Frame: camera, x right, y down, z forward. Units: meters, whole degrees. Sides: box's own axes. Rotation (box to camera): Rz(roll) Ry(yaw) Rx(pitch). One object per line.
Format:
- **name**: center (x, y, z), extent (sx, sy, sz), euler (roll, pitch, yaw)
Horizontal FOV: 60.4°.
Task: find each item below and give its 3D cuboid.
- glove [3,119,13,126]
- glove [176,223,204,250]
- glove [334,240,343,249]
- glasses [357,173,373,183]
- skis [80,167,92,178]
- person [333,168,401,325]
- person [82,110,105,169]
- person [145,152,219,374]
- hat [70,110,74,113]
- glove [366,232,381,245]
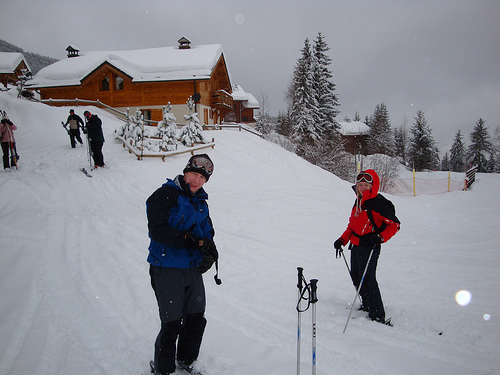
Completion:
- **glove**: center (-9.287, -2.513, 16.256), extent (0.252, 0.273, 0.441), euler (10, 10, 33)
- **glove**: center (-1.051, 0.885, 7.545), extent (0.441, 0.355, 0.194), euler (14, 3, 1)
- **glove**: center (2.006, 1.288, 9.587), extent (0.134, 0.257, 0.225), euler (1, 8, -1)
- **glasses**: center (2.419, -0.210, 9.002), extent (0.194, 0.269, 0.139), euler (-1, 46, 27)
- **skis**: center (-6.610, -0.667, 17.107), extent (0.255, 0.284, 1.383), euler (-16, 28, -23)
- **person**: center (2.561, 1.239, 9.217), extent (1.183, 3.253, 0.614), euler (7, 8, 27)
- **person**: center (-6.418, -1.961, 17.606), extent (0.819, 2.249, 1.008), euler (0, 8, -24)
- **person**: center (-1.254, 1.394, 7.645), extent (1.195, 3.941, 0.594), euler (1, 7, -23)
- **hat**: center (-8.422, -3.601, 20.114), extent (0.138, 0.193, 0.402), euler (0, 10, -29)
- **glove**: center (2.613, 1.093, 8.974), extent (0.299, 0.305, 0.140), euler (8, 8, 22)
